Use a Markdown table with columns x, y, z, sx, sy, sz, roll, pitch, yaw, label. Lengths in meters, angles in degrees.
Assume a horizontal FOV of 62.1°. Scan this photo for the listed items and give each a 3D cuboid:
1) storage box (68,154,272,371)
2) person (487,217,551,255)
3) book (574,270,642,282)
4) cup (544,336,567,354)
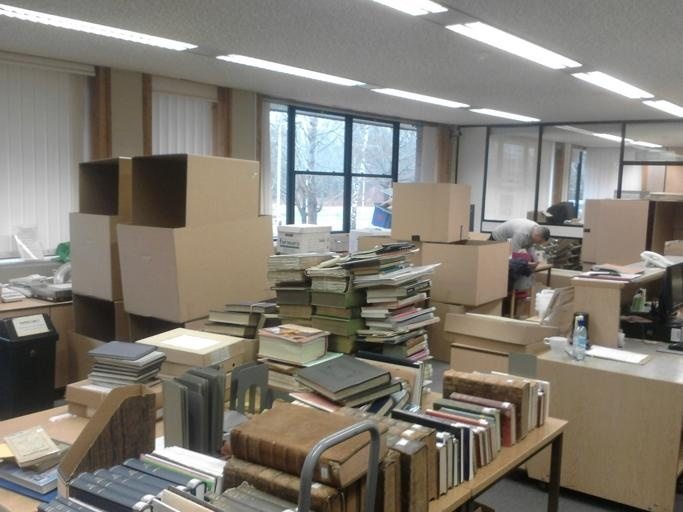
| x | y | z | sx | sy | sz | roll | pitch | yaw | label |
| --- | --- | --- | --- | --- | --- | --- | --- | --- | --- |
| -1.139 | 0.024 | 3.804 | 0.842 | 1.521 | 1.634 | 3 | 6 | 31 | storage box |
| 2.372 | -0.241 | 7.649 | 0.389 | 0.585 | 0.924 | -26 | 21 | -25 | person |
| 1.894 | 0.136 | 4.009 | 0.460 | 0.034 | 0.366 | 1 | 7 | 13 | book |
| 1.387 | 0.575 | 3.715 | 0.108 | 0.070 | 0.087 | -1 | 4 | 28 | cup |
